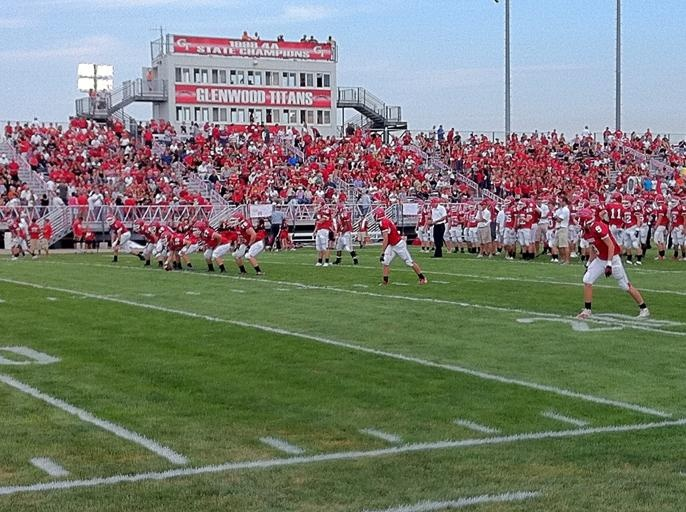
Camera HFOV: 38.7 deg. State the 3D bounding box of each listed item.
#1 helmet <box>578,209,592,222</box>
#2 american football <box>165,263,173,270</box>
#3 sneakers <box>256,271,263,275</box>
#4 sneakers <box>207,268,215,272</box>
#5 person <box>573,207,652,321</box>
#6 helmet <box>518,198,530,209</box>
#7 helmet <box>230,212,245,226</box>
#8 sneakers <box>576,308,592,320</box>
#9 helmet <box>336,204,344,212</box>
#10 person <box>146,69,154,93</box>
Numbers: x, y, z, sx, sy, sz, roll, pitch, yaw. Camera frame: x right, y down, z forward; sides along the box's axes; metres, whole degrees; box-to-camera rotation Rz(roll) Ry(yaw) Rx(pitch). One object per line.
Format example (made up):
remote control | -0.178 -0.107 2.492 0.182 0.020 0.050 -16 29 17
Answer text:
helmet | 2.921 -0.477 11.725 0.173 0.158 0.283 0 7 11
american football | -3.388 0.202 18.861 0.125 0.074 0.137 -1 -1 -3
sneakers | -1.521 0.307 17.702 0.050 0.042 0.115 22 -8 3
sneakers | -2.510 0.259 18.498 0.109 0.049 0.287 -3 7 -10
person | 3.462 0.035 12.495 0.787 1.365 2.101 0 7 17
helmet | 3.974 -1.151 21.327 0.252 0.244 0.218 1 3 -3
helmet | -1.891 -0.689 17.373 0.229 0.279 0.284 8 -13 -5
sneakers | 2.930 0.712 11.824 0.089 0.113 0.259 1 -2 41
helmet | -0.049 -0.995 20.553 0.184 0.222 0.233 -2 10 -7
person | -8.101 -7.365 40.735 0.275 0.962 1.310 -3 7 -9
